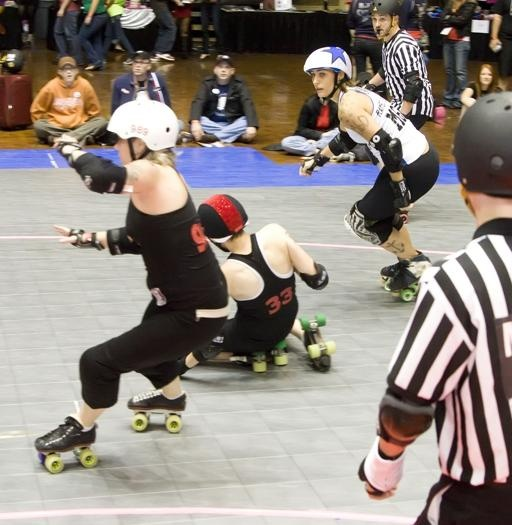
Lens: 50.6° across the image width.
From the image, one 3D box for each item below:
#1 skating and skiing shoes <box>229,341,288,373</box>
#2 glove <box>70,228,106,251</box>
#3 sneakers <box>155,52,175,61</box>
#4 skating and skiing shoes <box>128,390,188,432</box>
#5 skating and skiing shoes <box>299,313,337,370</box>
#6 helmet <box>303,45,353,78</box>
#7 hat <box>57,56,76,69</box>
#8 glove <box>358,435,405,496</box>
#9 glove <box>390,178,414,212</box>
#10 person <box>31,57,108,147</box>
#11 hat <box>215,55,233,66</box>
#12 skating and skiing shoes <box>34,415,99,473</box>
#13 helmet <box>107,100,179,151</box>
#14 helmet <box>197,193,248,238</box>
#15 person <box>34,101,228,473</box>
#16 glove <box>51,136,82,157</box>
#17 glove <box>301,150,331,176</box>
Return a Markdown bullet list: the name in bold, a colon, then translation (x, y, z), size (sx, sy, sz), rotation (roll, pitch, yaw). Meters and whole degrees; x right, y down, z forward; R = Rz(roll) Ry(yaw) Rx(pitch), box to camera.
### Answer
- **skating and skiing shoes**: translation (0.026, 0.613, 3.668), size (0.332, 0.220, 0.267), rotation (-2, -4, -1)
- **glove**: translation (-0.871, -0.117, 2.864), size (0.198, 0.059, 0.094), rotation (5, 17, -12)
- **sneakers**: translation (-2.721, -6.229, 16.410), size (0.740, 0.208, 0.229), rotation (9, 19, 6)
- **skating and skiing shoes**: translation (-0.526, 0.802, 2.955), size (0.396, 0.194, 0.194), rotation (3, 2, -1)
- **skating and skiing shoes**: translation (0.412, 0.541, 3.692), size (0.256, 0.158, 0.369), rotation (-3, 55, -24)
- **helmet**: translation (0.695, -1.834, 4.939), size (0.425, 0.191, 0.286), rotation (-15, 16, -23)
- **hat**: translation (-3.198, -3.383, 9.128), size (0.266, 0.211, 0.467), rotation (-8, 19, -17)
- **glove**: translation (0.291, 0.503, 1.293), size (0.074, 0.039, 0.116), rotation (1, 0, -5)
- **glove**: translation (1.161, -0.559, 4.541), size (0.199, 0.236, 0.110), rotation (-33, 27, -36)
- **person**: translation (-3.205, -2.720, 9.219), size (1.332, 1.227, 1.016), rotation (-9, 39, -25)
- **hat**: translation (-0.570, -3.595, 9.658), size (0.292, 0.229, 0.675), rotation (-3, 17, -3)
- **skating and skiing shoes**: translation (-0.923, 0.864, 2.594), size (0.302, 0.187, 0.199), rotation (7, -8, -40)
- **helmet**: translation (-0.522, -0.643, 2.523), size (0.383, 0.198, 0.219), rotation (-7, 26, -9)
- **helmet**: translation (-0.230, -0.286, 3.280), size (0.258, 0.219, 0.312), rotation (-28, 38, -15)
- **person**: translation (-0.610, 0.104, 2.616), size (0.847, 1.784, 0.943), rotation (4, 23, 16)
- **glove**: translation (-0.878, -0.537, 2.494), size (0.137, 0.070, 0.190), rotation (-12, 16, -26)
- **glove**: translation (0.533, -0.914, 5.002), size (0.295, 0.103, 0.158), rotation (-21, 17, 19)
